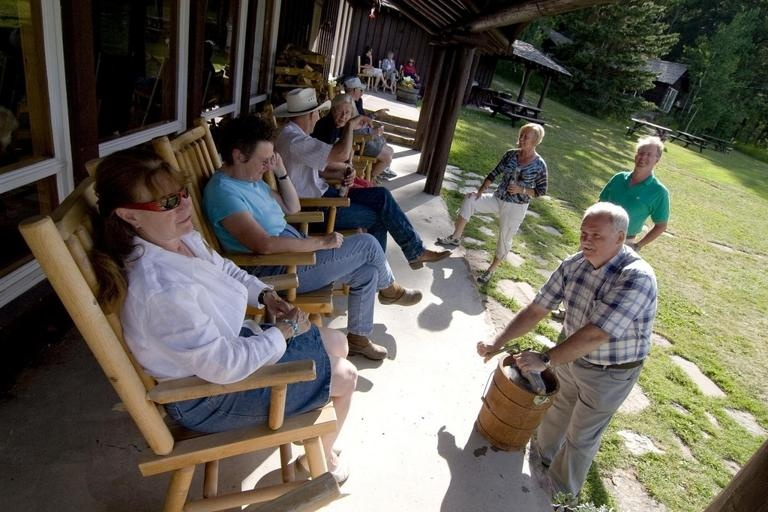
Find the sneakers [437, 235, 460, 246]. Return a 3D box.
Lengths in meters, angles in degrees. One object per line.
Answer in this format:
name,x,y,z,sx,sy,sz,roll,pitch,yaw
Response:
sneakers,0.749,-0.173,5.362,0.273,0.135,0.121,6,3,6

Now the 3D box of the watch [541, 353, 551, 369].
watch,1.017,0.667,2.883,0.054,0.081,0.080,4,7,-1

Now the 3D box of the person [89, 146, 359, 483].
person,-0.818,0.472,2.558,1.349,1.883,0.969,-4,11,-28

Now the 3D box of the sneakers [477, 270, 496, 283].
sneakers,1.105,0.247,4.917,0.085,0.089,0.199,35,49,28

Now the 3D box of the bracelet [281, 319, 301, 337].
bracelet,-0.490,0.380,2.434,0.092,0.077,0.086,-53,20,-22

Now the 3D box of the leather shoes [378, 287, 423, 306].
leather shoes,0.135,0.347,3.778,0.320,0.127,0.153,-4,22,-3

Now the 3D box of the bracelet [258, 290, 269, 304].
bracelet,-0.733,0.253,2.744,0.059,0.077,0.028,9,-5,-11

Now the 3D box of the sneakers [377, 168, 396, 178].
sneakers,0.077,-1.301,7.232,0.371,0.155,0.123,-7,23,-21

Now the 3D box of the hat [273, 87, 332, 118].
hat,-0.717,-1.375,4.124,0.420,0.162,0.366,-25,28,-24

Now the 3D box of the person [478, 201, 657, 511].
person,1.266,0.591,3.026,0.887,1.744,0.719,31,32,31

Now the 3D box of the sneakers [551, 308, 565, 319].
sneakers,1.828,0.615,4.780,0.123,0.074,0.163,0,3,27

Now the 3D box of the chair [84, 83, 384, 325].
chair,-0.876,-0.560,3.546,1.705,1.985,0.869,-5,43,-5

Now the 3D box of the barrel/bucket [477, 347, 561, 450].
barrel/bucket,0.799,0.953,3.239,0.550,0.599,0.577,13,27,-7

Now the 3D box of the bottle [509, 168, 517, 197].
bottle,1.375,-0.767,4.836,0.093,0.232,0.173,5,-6,14

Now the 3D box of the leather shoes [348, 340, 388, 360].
leather shoes,-0.126,0.733,3.516,0.344,0.153,0.121,4,28,-9

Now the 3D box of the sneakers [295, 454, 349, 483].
sneakers,-0.373,1.297,2.816,0.315,0.135,0.184,11,43,0
